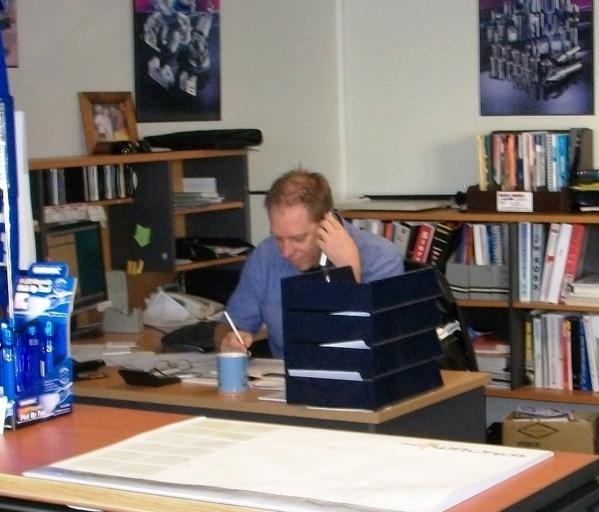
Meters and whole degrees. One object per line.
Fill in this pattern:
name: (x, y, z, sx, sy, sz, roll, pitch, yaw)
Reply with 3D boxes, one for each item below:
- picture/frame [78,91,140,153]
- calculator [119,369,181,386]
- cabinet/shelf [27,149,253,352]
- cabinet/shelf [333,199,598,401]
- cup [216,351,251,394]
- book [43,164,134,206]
picture/frame: (-0.953, -0.661, 2.927, 0.029, 0.321, 0.373, -12, 4, 39)
calculator: (-0.473, 0.379, 1.870, 0.085, 0.032, 0.112, 4, 7, 30)
cabinet/shelf: (-0.733, -0.030, 2.710, 0.376, 0.710, 1.106, 3, 10, 33)
cabinet/shelf: (0.857, 0.191, 2.669, 1.462, 0.672, 0.188, 0, -3, 15)
cup: (-0.201, 0.347, 1.771, 0.126, 0.112, 0.116, 0, 1, 0)
book: (-0.988, -0.337, 2.758, 0.207, 0.075, 0.282, -7, 4, 29)
